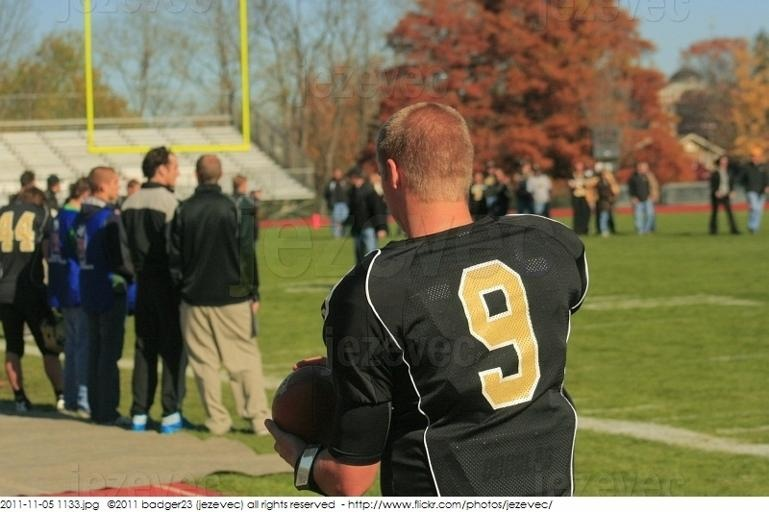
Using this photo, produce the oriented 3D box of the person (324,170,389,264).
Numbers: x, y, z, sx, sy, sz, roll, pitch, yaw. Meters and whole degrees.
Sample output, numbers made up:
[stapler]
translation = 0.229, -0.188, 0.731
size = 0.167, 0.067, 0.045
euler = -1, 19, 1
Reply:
[person]
translation = -0.547, -0.793, 24.546
size = 1.072, 1.792, 1.075
euler = 4, -2, 7
